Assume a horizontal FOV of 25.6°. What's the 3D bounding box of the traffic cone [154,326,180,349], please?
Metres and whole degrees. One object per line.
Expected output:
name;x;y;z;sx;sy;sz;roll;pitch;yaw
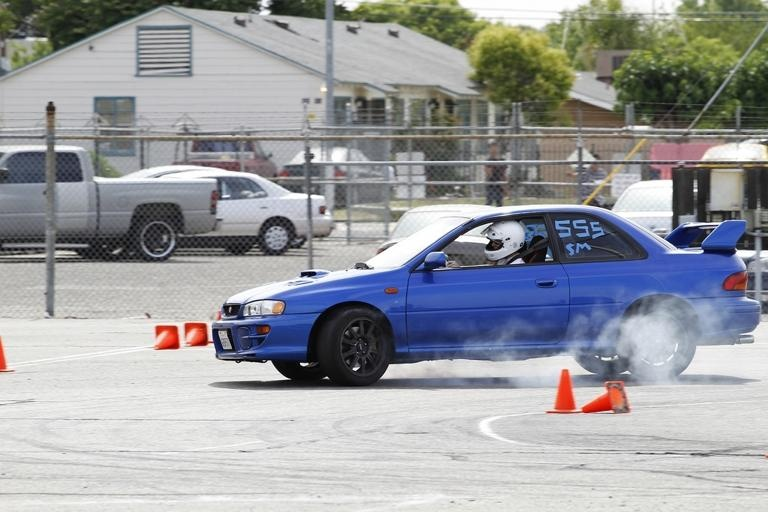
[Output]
traffic cone;-3.578;1.298;27.590;0.390;0.365;0.403;1;6;-8

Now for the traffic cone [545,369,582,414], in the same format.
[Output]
traffic cone;2.551;1.869;23.985;0.433;0.621;0.484;3;6;5

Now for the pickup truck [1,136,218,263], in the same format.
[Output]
pickup truck;-6.025;-1.136;36.178;4.409;2.404;1.258;1;7;-11

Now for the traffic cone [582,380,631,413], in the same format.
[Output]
traffic cone;3.093;1.964;23.952;0.690;0.399;0.349;-10;16;4
